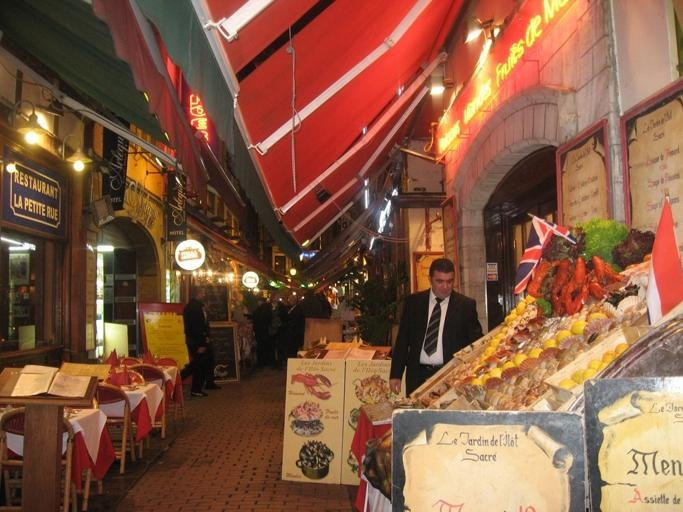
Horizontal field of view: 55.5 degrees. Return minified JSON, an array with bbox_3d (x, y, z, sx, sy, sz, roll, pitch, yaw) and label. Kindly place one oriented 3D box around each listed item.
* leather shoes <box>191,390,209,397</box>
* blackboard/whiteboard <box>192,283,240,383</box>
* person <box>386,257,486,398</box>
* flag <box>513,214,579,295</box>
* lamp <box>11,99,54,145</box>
[{"bbox_3d":[-2.470,2.400,11.311,0.262,0.140,0.109,0,-7,0],"label":"leather shoes"},{"bbox_3d":[-2.402,1.601,12.881,0.489,1.634,1.405,1,1,-8],"label":"blackboard/whiteboard"},{"bbox_3d":[0.777,0.505,5.797,0.659,1.357,0.622,0,2,6],"label":"person"},{"bbox_3d":[1.311,-0.047,4.378,0.219,0.622,0.347,1,1,0],"label":"flag"},{"bbox_3d":[-3.686,-1.647,7.817,0.317,0.464,0.361,2,5,-19],"label":"lamp"}]
